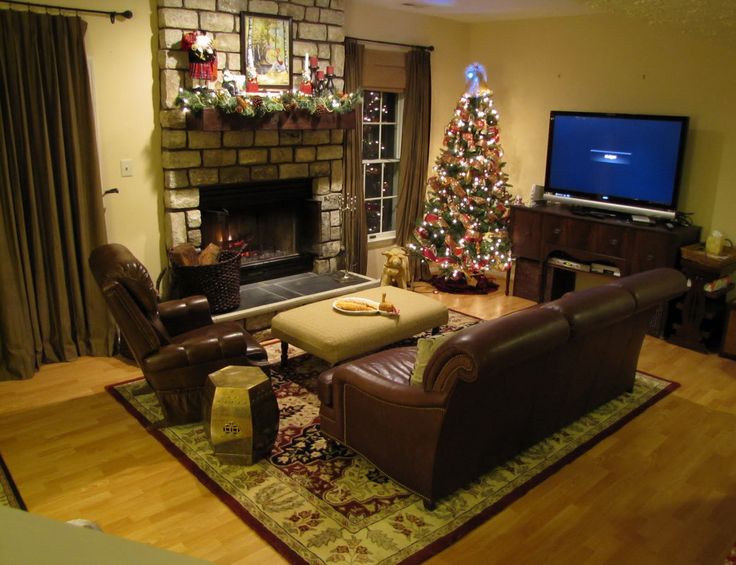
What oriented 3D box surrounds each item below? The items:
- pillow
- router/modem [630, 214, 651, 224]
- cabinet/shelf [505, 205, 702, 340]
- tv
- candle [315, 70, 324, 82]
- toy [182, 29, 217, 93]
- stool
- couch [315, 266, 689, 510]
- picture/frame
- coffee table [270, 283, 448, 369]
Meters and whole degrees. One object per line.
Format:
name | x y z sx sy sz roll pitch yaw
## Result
pillow | 0.391 0.375 2.929 0.088 0.286 0.271 31 34 28
router/modem | 2.591 -0.602 5.224 0.160 0.052 0.200 6 16 16
cabinet/shelf | 2.391 -0.245 5.751 0.580 1.032 1.776 -22 27 -34
tv | 2.477 -1.141 5.383 0.132 0.795 1.185 -14 24 -37
candle | -0.463 -1.975 5.263 0.117 0.122 0.111 -2 13 -6
toy | -1.359 -1.841 4.525 0.294 0.454 0.273 -8 19 -28
stool | -0.752 0.826 3.289 0.397 0.506 0.463 8 9 36
couch | 0.593 -0.001 2.913 2.274 0.981 1.246 -14 21 -35
picture/frame | -0.907 -2.064 4.927 0.122 0.633 0.506 15 21 39
coffee table | -0.187 0.298 4.197 1.087 0.377 0.689 -17 25 -40
